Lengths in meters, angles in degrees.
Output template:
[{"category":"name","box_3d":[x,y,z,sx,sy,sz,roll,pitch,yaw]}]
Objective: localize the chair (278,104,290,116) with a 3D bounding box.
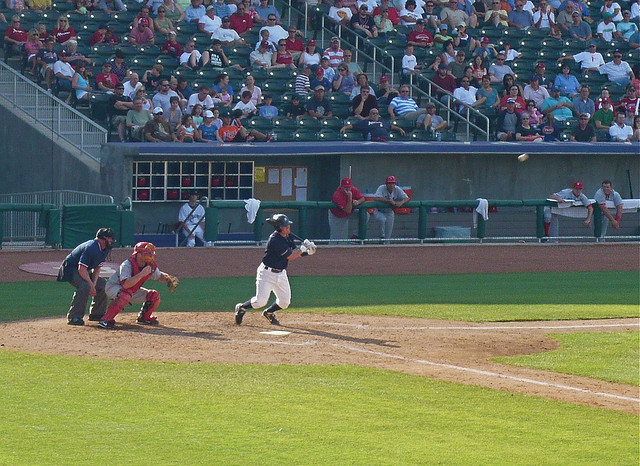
[{"category":"chair","box_3d":[-0.899,-3.057,40.266,0.276,0.238,0.218,4,-12,-5]}]

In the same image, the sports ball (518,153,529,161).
[{"category":"sports ball","box_3d":[5.095,-1.899,40.233,0.196,0.087,0.194,-20,2,1]}]

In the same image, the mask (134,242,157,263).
[{"category":"mask","box_3d":[-3.333,0.347,30.691,0.405,0.353,0.348,-4,7,-3]}]

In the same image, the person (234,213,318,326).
[{"category":"person","box_3d":[-0.855,0.688,30.864,1.467,2.097,0.634,1,-2,2]}]

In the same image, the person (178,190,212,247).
[{"category":"person","box_3d":[-2.928,-0.340,37.614,0.737,1.232,0.438,1,-2,-4]}]

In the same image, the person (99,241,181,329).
[{"category":"person","box_3d":[-3.471,0.970,30.819,1.480,1.547,1.172,1,0,-28]}]

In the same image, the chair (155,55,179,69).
[{"category":"chair","box_3d":[-3.833,-4.261,40.386,0.438,0.507,0.379,6,-2,-22]}]

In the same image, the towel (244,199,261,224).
[{"category":"towel","box_3d":[-1.586,-0.534,37.831,0.564,0.651,0.205,4,-10,-13]}]

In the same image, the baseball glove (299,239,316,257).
[{"category":"baseball glove","box_3d":[-0.247,0.252,31.037,0.131,0.289,0.394,-24,7,-23]}]

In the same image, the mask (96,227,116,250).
[{"category":"mask","box_3d":[-4.042,0.080,30.710,0.447,0.419,0.347,1,14,-30]}]

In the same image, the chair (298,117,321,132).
[{"category":"chair","box_3d":[-0.280,-2.649,40.105,0.404,0.530,0.394,1,-2,-16]}]

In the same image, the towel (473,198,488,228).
[{"category":"towel","box_3d":[3.910,-0.489,39.077,0.347,0.675,0.350,1,-2,10]}]

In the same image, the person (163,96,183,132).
[{"category":"person","box_3d":[-3.517,-2.838,38.589,0.437,0.850,0.416,1,-2,-6]}]

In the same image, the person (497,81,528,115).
[{"category":"person","box_3d":[4.996,-3.431,41.484,0.694,0.887,0.466,4,-1,6]}]

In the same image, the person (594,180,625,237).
[{"category":"person","box_3d":[7.160,-0.614,39.701,0.662,1.318,0.586,0,-2,31]}]

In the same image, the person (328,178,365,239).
[{"category":"person","box_3d":[0.639,-0.547,38.284,0.645,0.536,1.483,3,-38,5]}]

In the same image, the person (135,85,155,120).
[{"category":"person","box_3d":[-4.181,-3.068,38.342,0.463,0.813,0.827,1,-2,-6]}]

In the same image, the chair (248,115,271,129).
[{"category":"chair","box_3d":[-1.492,-2.707,39.522,0.343,0.403,0.367,2,10,13]}]

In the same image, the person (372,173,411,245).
[{"category":"person","box_3d":[1.677,-0.542,38.458,0.806,1.602,0.669,1,-2,2]}]

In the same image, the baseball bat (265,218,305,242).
[{"category":"baseball bat","box_3d":[-0.763,-0.080,33.918,0.767,0.106,0.133,36,35,-6]}]

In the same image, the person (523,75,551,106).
[{"category":"person","box_3d":[5.714,-3.707,42.250,0.809,0.986,0.740,-1,9,-8]}]

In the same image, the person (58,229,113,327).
[{"category":"person","box_3d":[-4.460,0.824,30.674,0.952,1.823,0.645,1,-2,-9]}]
